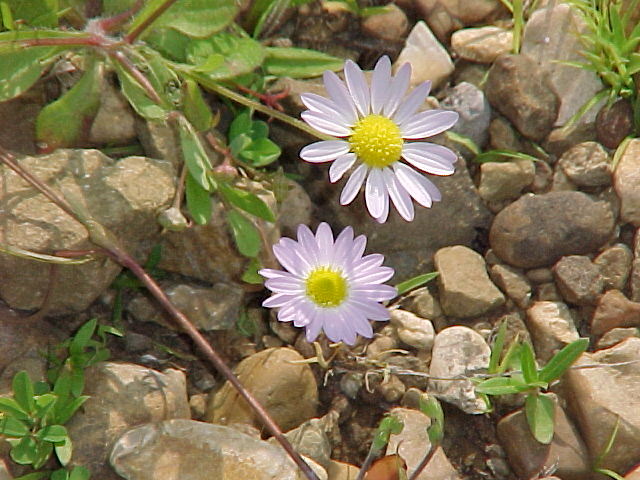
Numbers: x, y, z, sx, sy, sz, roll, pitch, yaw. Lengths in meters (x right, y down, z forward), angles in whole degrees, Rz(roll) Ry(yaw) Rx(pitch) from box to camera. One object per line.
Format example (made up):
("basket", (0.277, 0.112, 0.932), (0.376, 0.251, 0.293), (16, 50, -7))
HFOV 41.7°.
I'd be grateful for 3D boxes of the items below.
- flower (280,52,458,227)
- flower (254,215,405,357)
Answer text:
("flower", (0.265, -0.464, 3.737), (0.761, 0.154, 0.646), (43, 85, 5))
("flower", (0.024, 0.178, 3.628), (0.516, 0.571, 0.152), (-11, 105, -14))
